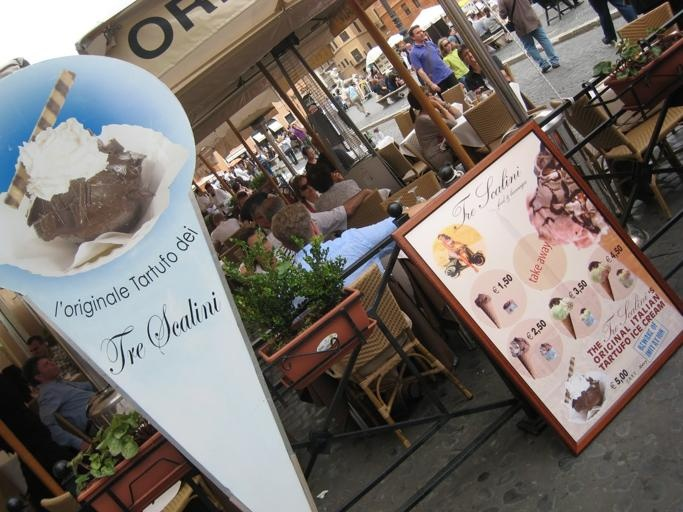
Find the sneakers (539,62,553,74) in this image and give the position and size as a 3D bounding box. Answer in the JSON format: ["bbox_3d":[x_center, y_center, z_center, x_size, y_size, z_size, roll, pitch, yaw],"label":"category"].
[{"bbox_3d":[3.789,-3.487,9.905,0.102,0.117,0.250,-26,14,11],"label":"sneakers"}]

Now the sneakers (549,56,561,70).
[{"bbox_3d":[3.913,-3.544,9.823,0.135,0.247,0.234,-16,5,0],"label":"sneakers"}]

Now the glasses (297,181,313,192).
[{"bbox_3d":[-0.484,-0.919,7.025,0.123,0.136,0.054,-1,9,36],"label":"glasses"}]
